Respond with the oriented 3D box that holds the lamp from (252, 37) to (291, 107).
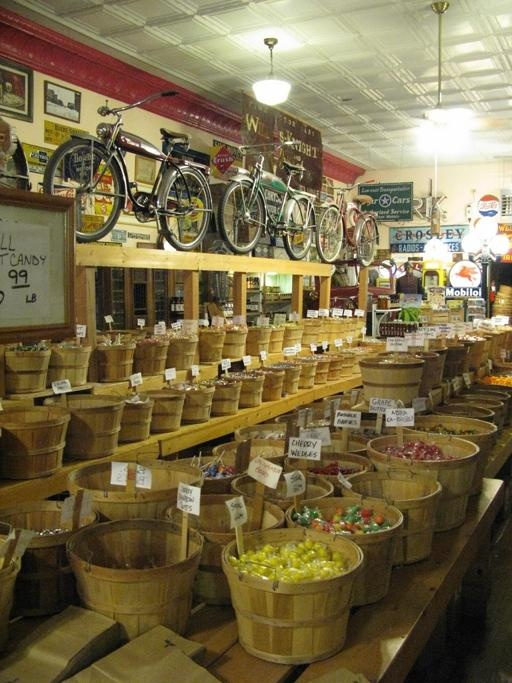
[{"bbox_3d":[0.182,-3.246,6.485,0.416,0.677,0.420,2,40,6],"label":"lamp"}]
